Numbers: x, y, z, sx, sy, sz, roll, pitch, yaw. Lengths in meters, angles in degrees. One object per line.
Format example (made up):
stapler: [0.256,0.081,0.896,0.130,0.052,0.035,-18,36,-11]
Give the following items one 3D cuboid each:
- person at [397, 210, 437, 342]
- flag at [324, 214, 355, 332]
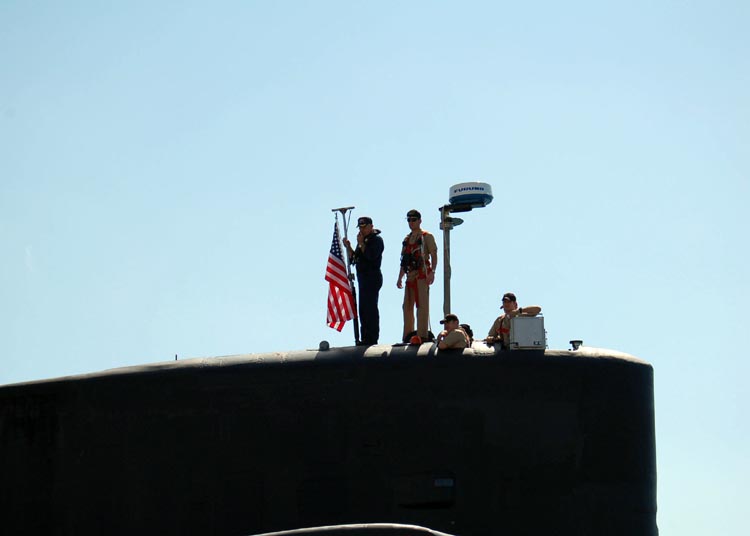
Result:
person: [0.577,0.083,22.233,0.312,1.908,0.777,4,-8,-25]
flag: [-0.548,-0.041,22.198,0.418,2.202,0.269,0,35,-4]
